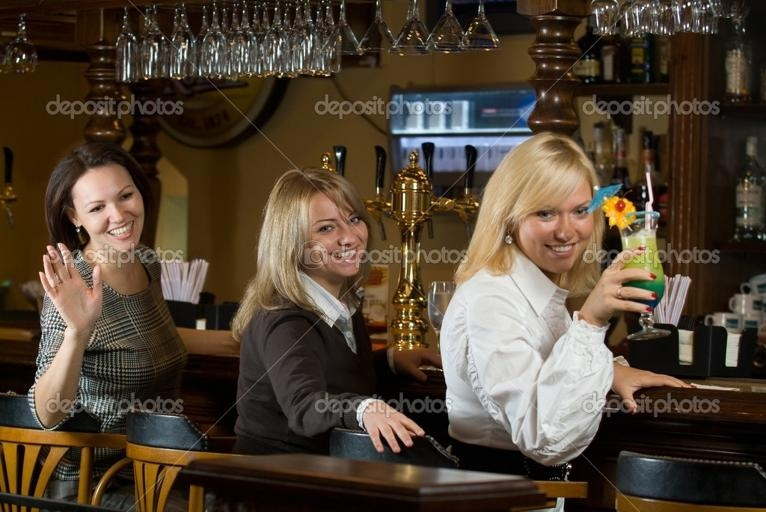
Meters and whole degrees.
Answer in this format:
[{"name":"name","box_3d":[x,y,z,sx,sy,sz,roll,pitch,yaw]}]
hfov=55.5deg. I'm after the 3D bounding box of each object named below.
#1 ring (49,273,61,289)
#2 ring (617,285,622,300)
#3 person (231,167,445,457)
[{"name":"ring","box_3d":[-1.070,0.082,2.363,0.046,0.045,0.015,0,-5,-33]},{"name":"ring","box_3d":[0.652,0.106,1.997,0.009,0.025,0.019,4,6,42]},{"name":"person","box_3d":[-0.204,0.164,2.257,0.670,0.866,0.709,1,5,3]}]
